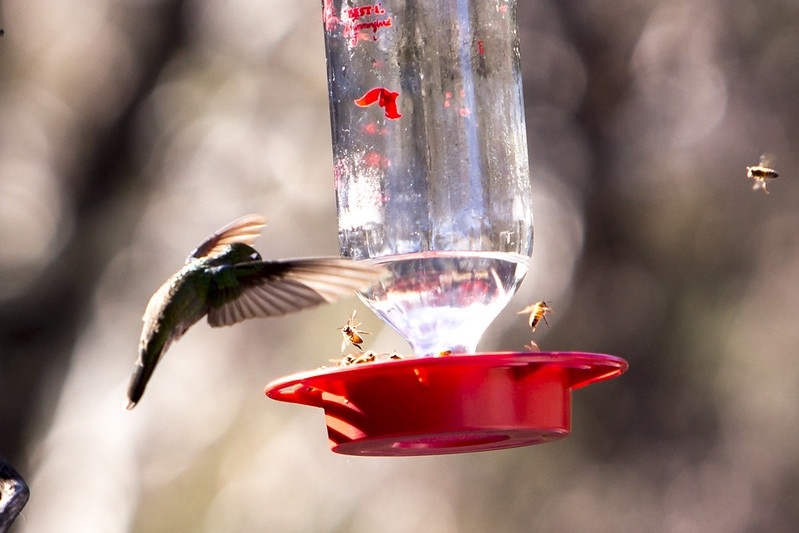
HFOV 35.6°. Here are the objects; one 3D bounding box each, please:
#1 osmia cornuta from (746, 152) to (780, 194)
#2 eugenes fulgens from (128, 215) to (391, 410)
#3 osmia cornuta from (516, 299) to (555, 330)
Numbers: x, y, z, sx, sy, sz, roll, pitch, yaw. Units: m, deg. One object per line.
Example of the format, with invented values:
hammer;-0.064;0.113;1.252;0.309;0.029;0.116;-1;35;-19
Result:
osmia cornuta;1.028;-0.266;3.542;0.087;0.034;0.123;5;85;10
eugenes fulgens;-0.359;0.105;2.892;0.399;0.588;0.237;-3;83;-24
osmia cornuta;0.386;0.134;3.495;0.036;0.064;0.054;51;53;-12
